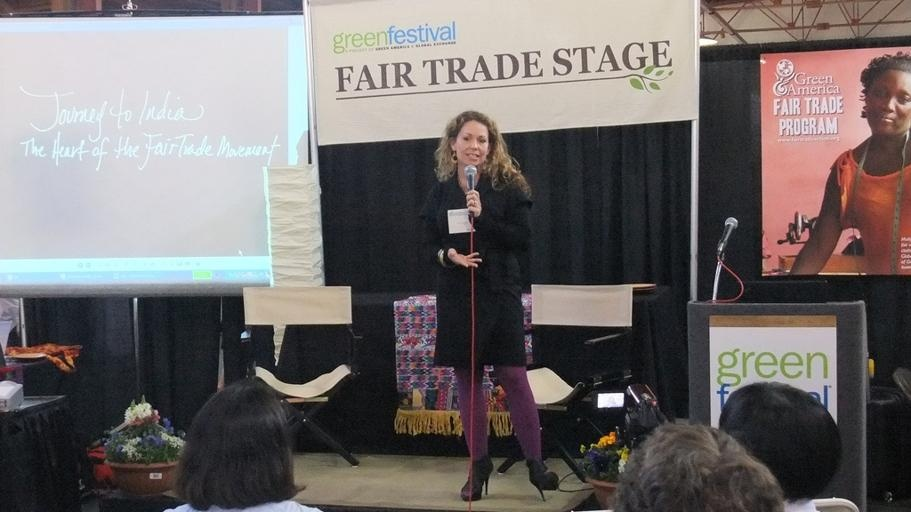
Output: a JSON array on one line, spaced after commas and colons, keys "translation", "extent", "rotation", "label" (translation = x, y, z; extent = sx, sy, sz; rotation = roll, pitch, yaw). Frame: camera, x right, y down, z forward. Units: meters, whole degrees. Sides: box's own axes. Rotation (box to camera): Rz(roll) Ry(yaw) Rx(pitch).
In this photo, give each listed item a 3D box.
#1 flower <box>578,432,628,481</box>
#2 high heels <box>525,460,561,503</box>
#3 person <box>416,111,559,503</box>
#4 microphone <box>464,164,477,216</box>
[{"translation": [1.011, 1.384, 6.493], "extent": [0.321, 0.374, 0.347], "rotation": [11, -24, -24], "label": "flower"}, {"translation": [0.579, 1.524, 6.426], "extent": [0.135, 0.184, 0.404], "rotation": [-2, 13, -13], "label": "high heels"}, {"translation": [0.213, 0.354, 6.511], "extent": [0.878, 2.638, 0.730], "rotation": [-1, 15, -2], "label": "person"}, {"translation": [0.100, -0.436, 6.433], "extent": [0.093, 0.361, 0.131], "rotation": [0, 15, 1], "label": "microphone"}]
